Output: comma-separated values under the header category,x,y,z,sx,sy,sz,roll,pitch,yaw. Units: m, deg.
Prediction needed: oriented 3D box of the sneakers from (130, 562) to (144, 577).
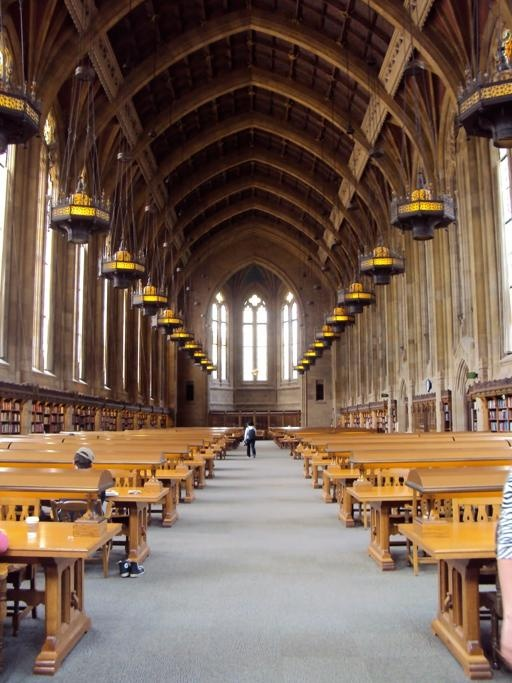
category,x,y,z,sx,sy,sz,roll,pitch,yaw
sneakers,-1.173,2.231,5.968,0.059,0.109,0.217,0,-7,11

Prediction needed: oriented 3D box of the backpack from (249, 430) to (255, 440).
category,x,y,z,sx,sy,sz,roll,pitch,yaw
backpack,-0.191,3.967,25.825,0.109,0.400,0.436,-5,-8,31

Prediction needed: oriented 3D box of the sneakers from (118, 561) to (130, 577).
category,x,y,z,sx,sy,sz,roll,pitch,yaw
sneakers,-1.284,2.200,5.861,0.051,0.095,0.186,0,-6,2
